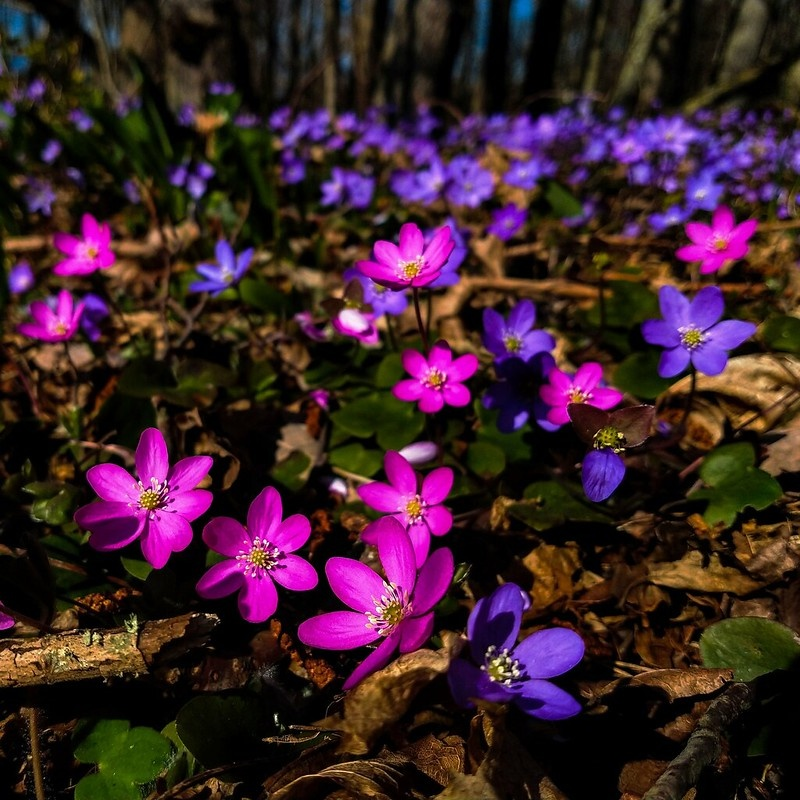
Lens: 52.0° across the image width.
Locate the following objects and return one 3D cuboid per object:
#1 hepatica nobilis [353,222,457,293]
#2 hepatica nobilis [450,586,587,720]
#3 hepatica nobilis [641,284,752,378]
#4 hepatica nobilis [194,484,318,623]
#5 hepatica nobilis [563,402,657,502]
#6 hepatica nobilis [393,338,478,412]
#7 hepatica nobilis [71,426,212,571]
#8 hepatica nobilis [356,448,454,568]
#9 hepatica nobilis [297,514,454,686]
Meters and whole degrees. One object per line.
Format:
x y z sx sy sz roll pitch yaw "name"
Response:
0.030 -0.336 1.920 0.197 0.196 0.064 -9 68 12 "hepatica nobilis"
0.208 0.471 1.540 0.247 0.213 0.290 7 30 -1 "hepatica nobilis"
0.701 -0.174 1.878 0.087 0.219 0.243 -43 34 -2 "hepatica nobilis"
-0.298 0.312 1.663 0.226 0.190 0.187 -5 33 -20 "hepatica nobilis"
0.423 0.093 1.620 0.198 0.195 0.077 4 0 3 "hepatica nobilis"
0.080 -0.047 1.887 0.177 0.180 0.128 26 36 27 "hepatica nobilis"
-0.529 0.198 1.705 0.281 0.210 0.222 7 31 0 "hepatica nobilis"
0.024 0.211 1.732 0.221 0.224 0.087 0 9 32 "hepatica nobilis"
-0.056 0.418 1.557 0.268 0.360 0.291 3 32 -7 "hepatica nobilis"
